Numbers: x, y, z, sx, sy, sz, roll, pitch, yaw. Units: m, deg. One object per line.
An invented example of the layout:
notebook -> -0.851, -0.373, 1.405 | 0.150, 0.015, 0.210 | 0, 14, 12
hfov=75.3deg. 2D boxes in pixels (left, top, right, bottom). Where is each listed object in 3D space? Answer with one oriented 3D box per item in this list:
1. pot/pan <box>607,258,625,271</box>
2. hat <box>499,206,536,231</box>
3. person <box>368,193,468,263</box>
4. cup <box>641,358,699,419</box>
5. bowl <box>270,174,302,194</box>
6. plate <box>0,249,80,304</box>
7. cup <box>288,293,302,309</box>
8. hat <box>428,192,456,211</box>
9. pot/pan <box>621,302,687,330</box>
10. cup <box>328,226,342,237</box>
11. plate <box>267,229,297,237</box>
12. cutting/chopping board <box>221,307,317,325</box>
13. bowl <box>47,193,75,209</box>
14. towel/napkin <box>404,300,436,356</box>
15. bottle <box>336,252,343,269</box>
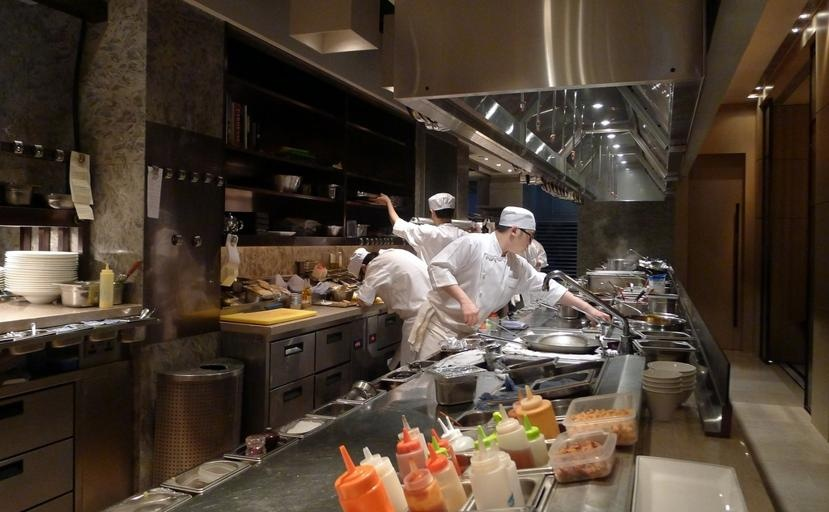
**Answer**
pot/pan -> 3.352, 0.150, 8.962 | 0.304, 0.236, 0.290 | 0, -2, 7
hat -> 0.894, -0.307, 4.534 | 0.238, 0.113, 0.231 | 7, 3, 24
person -> 0.007, -0.338, 6.368 | 1.055, 1.395, 0.478 | -1, 0, -8
cup -> 1.400, 0.739, 3.030 | 0.293, 0.250, 0.319 | 1, -4, 0
bowl -> -1.316, -0.741, 5.611 | 0.229, 0.116, 0.231 | 0, 1, 0
plate -> -2.695, 0.169, 3.946 | 0.451, 0.296, 0.429 | 3, -3, -19
cup -> -1.143, 0.439, 5.168 | 0.137, 0.139, 0.130 | 1, 2, 0
hat -> 0.327, -0.633, 6.386 | 0.229, 0.145, 0.284 | -2, -7, 2
pot/pan -> 1.808, 0.414, 4.148 | 0.467, 0.077, 0.338 | 10, 0, 33
cup -> -0.906, -0.285, 6.158 | 0.126, 0.088, 0.127 | 2, 7, 0
plate -> -1.367, -0.235, 5.541 | 0.259, 0.070, 0.516 | -2, 1, -13
cutting/chopping board -> -1.272, 0.531, 4.726 | 0.592, 0.110, 0.619 | -2, 1, 29
bowl -> -2.595, -0.403, 3.936 | 0.127, 0.065, 0.132 | -1, 3, 0
towel/napkin -> 0.053, 0.687, 4.814 | 0.206, 0.662, 0.120 | -8, 44, -18
bottle -> -0.944, 0.050, 6.828 | 0.078, 0.185, 0.270 | -3, 1, -5
